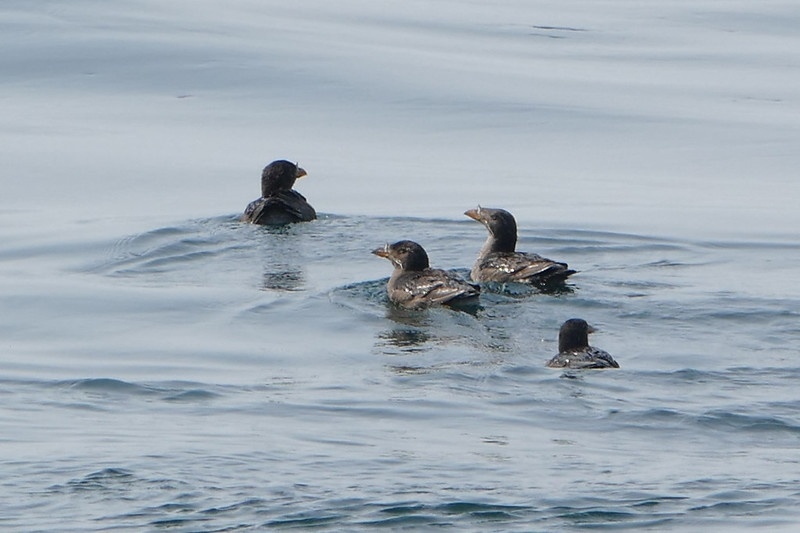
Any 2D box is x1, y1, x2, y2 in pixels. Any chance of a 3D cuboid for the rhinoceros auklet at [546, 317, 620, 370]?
[{"bbox_3d":[2.462,1.127,17.093,1.278,0.531,1.178,-1,12,-3],"label":"rhinoceros auklet"}]
